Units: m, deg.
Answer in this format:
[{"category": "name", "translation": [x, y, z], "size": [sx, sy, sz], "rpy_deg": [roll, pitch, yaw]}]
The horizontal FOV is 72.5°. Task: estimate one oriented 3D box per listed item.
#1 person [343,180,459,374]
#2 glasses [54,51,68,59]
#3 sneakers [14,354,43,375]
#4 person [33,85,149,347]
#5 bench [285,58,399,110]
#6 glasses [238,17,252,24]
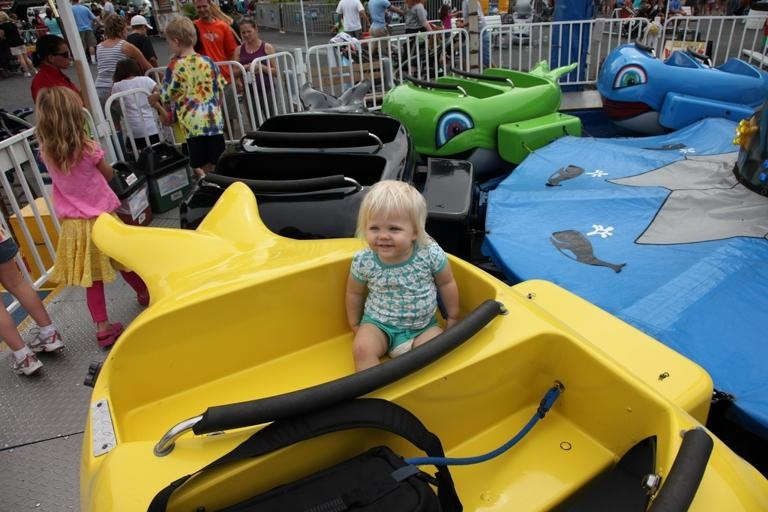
[{"category": "person", "translation": [0.070, 0.079, 2.477], "size": [0.555, 0.765, 0.506], "rpy_deg": [-9, 31, -14]}, {"category": "glasses", "translation": [-3.126, -1.931, 5.068], "size": [0.078, 0.062, 0.129], "rpy_deg": [15, 33, 26]}, {"category": "sneakers", "translation": [-2.146, 0.639, 3.165], "size": [0.191, 0.097, 0.100], "rpy_deg": [3, 21, 27]}, {"category": "person", "translation": [-1.955, -0.247, 3.344], "size": [0.510, 1.474, 0.834], "rpy_deg": [-17, 34, -25]}, {"category": "bench", "translation": [-0.631, -2.128, 7.274], "size": [1.523, 0.907, 0.694], "rpy_deg": [-24, 27, -39]}, {"category": "glasses", "translation": [-1.599, -2.692, 6.032], "size": [0.108, 0.041, 0.104], "rpy_deg": [6, 39, 7]}]
